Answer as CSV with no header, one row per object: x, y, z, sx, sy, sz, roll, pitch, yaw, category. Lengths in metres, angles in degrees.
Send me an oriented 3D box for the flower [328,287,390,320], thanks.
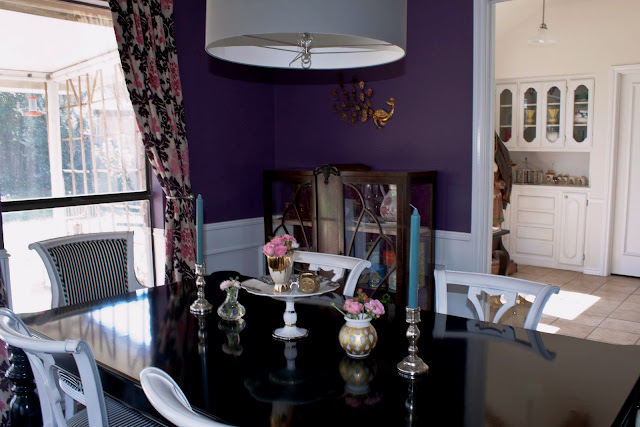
0.155,0.367,1.849,0.181,0.138,0.197,7,1,-32,flower

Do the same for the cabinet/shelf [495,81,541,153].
2.674,-1.305,6.190,0.559,0.901,0.148,2,10,22,cabinet/shelf

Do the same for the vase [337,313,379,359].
0.144,0.482,1.853,0.154,0.142,0.155,2,-2,-19,vase

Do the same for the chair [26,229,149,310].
-1.400,0.231,2.848,0.487,0.696,0.507,-6,7,-40,chair

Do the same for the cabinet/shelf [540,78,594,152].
3.146,-1.249,5.864,0.567,0.880,0.147,4,10,30,cabinet/shelf

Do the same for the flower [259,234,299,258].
-0.177,0.142,2.034,0.156,0.089,0.135,-4,9,-15,flower

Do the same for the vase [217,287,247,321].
-0.418,0.411,2.147,0.113,0.174,0.117,5,1,8,vase

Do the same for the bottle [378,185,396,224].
0.510,-0.072,3.439,0.149,0.273,0.017,7,12,42,bottle

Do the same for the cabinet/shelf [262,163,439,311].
0.275,0.149,3.148,1.084,1.197,0.408,3,5,33,cabinet/shelf
